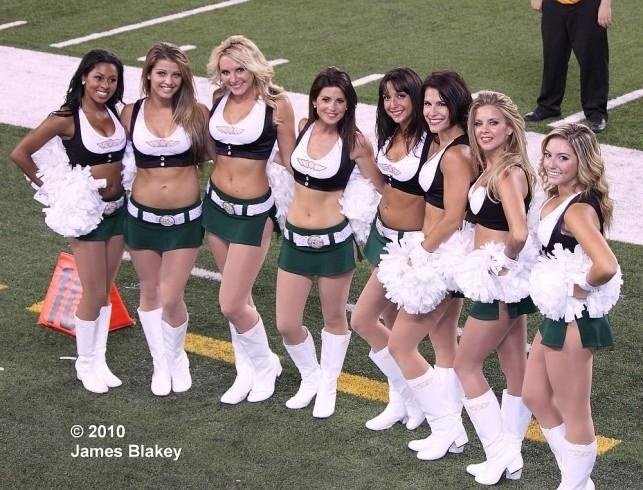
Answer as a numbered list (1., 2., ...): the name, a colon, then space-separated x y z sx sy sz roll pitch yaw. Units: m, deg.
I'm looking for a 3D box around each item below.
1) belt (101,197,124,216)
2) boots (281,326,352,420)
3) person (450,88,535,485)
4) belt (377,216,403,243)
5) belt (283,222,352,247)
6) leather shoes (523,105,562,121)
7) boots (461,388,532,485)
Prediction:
1. belt: -1.412 -0.274 4.613 0.094 0.061 0.115 -21 29 -20
2. boots: 0.009 0.826 4.720 0.478 0.691 0.556 7 14 27
3. person: 1.000 0.289 3.812 0.480 2.022 1.089 4 34 12
4. belt: 0.426 -0.097 4.231 0.128 0.079 0.167 -6 36 -19
5. belt: -0.028 -0.067 4.344 0.454 0.151 0.174 1 33 6
6. leather shoes: 2.840 -1.753 8.848 0.541 0.211 0.183 2 13 -4
7. boots: 0.935 1.120 4.004 0.573 0.649 0.358 -1 2 7
